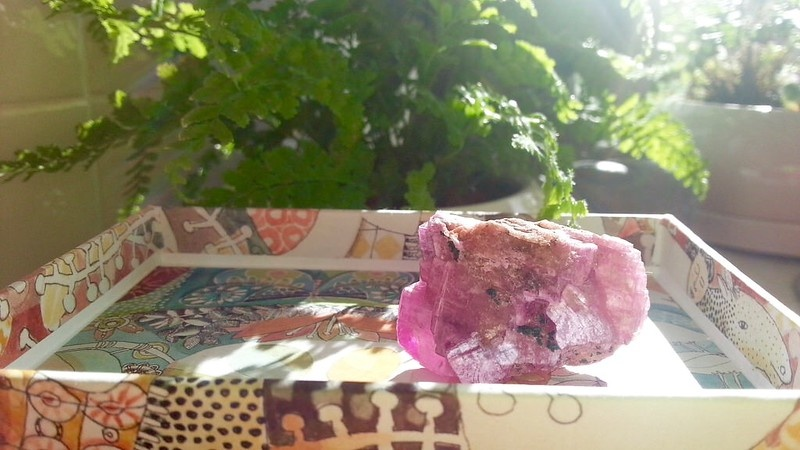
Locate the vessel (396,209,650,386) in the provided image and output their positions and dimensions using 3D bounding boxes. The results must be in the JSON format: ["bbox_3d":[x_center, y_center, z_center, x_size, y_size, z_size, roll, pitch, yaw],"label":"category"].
[{"bbox_3d":[0.215,0.042,1.225,0.415,0.313,0.324,-5,25,-7],"label":"vessel"}]
